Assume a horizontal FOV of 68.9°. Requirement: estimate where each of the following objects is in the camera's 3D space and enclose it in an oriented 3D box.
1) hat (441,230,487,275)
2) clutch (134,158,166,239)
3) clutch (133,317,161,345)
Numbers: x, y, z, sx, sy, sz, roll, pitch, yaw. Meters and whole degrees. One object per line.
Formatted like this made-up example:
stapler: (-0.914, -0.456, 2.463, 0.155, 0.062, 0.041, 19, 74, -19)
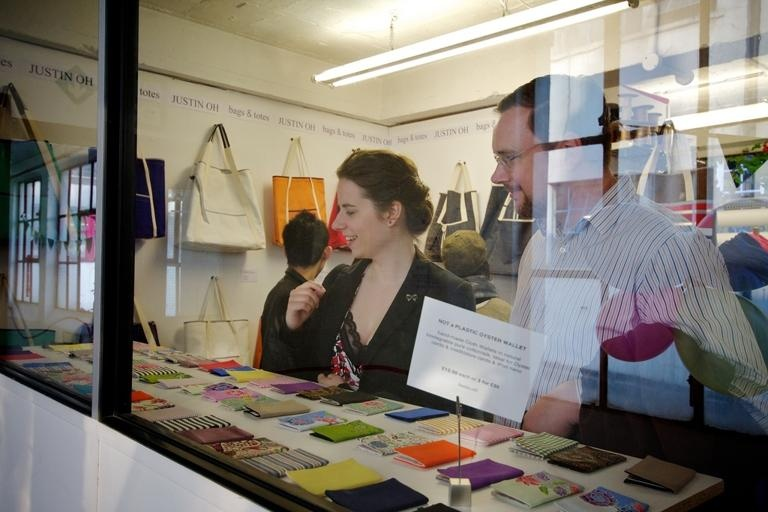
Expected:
hat: (0.187, -0.011, 1.304, 0.081, 0.093, 0.107, 1, 15, 19)
clutch: (-0.917, -0.222, 2.147, 0.085, 0.224, 0.275, 1, 1, -17)
clutch: (-0.906, 0.278, 2.121, 0.045, 0.117, 0.134, -12, 5, -19)
